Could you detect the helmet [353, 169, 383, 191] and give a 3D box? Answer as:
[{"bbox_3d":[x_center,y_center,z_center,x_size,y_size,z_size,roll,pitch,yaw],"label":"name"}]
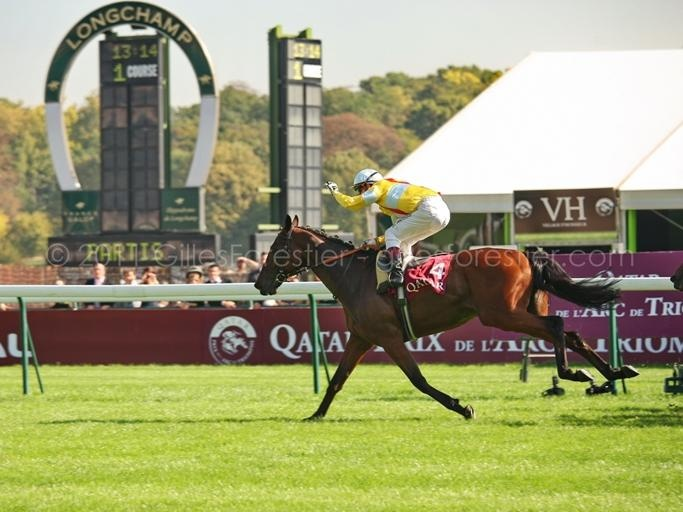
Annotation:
[{"bbox_3d":[0.383,-1.026,23.350,0.363,0.257,0.289,2,-1,12],"label":"helmet"}]
